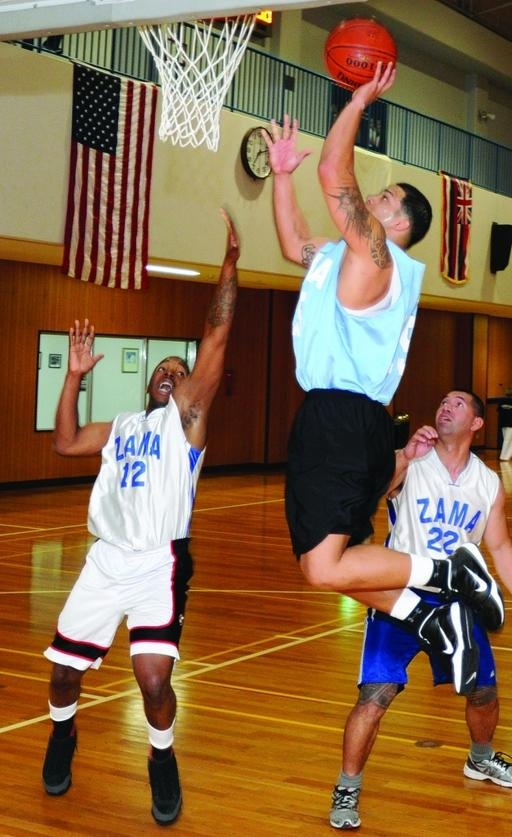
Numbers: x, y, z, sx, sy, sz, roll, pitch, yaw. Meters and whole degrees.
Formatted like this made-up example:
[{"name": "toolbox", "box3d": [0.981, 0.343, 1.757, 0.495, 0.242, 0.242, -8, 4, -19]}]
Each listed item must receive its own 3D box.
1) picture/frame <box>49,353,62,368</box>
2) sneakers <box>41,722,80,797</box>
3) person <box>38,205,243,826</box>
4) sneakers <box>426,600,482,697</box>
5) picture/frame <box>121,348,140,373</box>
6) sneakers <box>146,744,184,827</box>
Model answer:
[{"name": "picture/frame", "box3d": [-3.249, -0.922, 10.430, 0.230, 0.240, 0.022, 3, -3, -41]}, {"name": "sneakers", "box3d": [-0.545, 0.951, 1.843, 0.078, 0.239, 0.098, 1, -21, 1]}, {"name": "person", "box3d": [-0.358, 0.224, 1.933, 0.451, 1.742, 0.695, 9, -10, -39]}, {"name": "sneakers", "box3d": [0.502, 0.578, 1.671, 0.134, 0.340, 0.120, -5, 8, 6]}, {"name": "picture/frame", "box3d": [-2.219, -0.999, 11.359, 0.038, 0.564, 0.430, -5, -6, 41]}, {"name": "sneakers", "box3d": [-0.239, 0.959, 1.713, 0.092, 0.187, 0.152, 3, -8, -6]}]
